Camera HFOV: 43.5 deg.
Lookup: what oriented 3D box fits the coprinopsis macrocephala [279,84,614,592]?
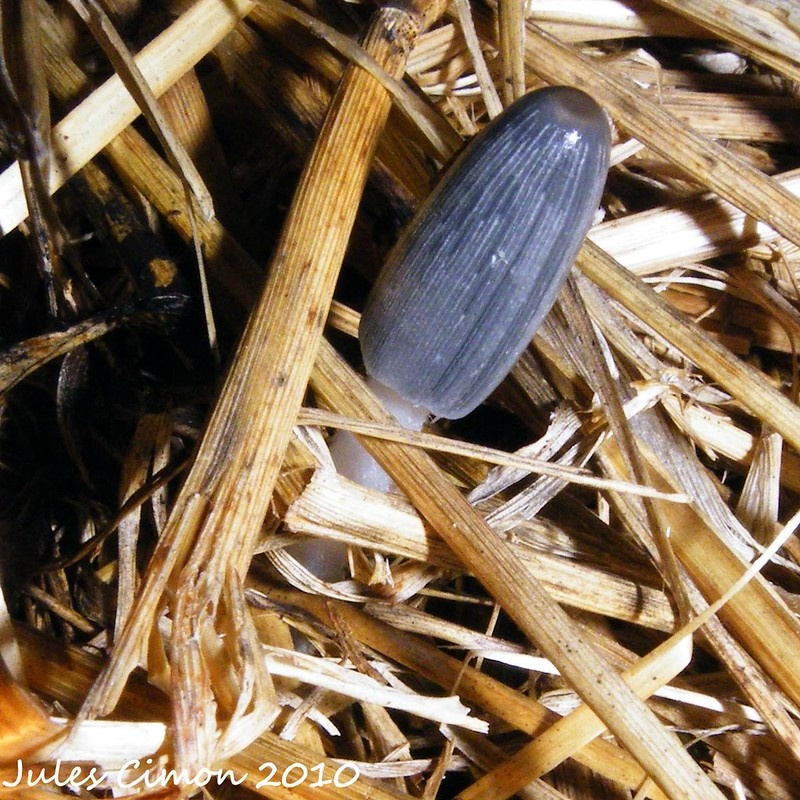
[{"bbox_3d":[0.068,-0.127,0.930,0.175,0.333,0.086,17,29,3],"label":"coprinopsis macrocephala"}]
